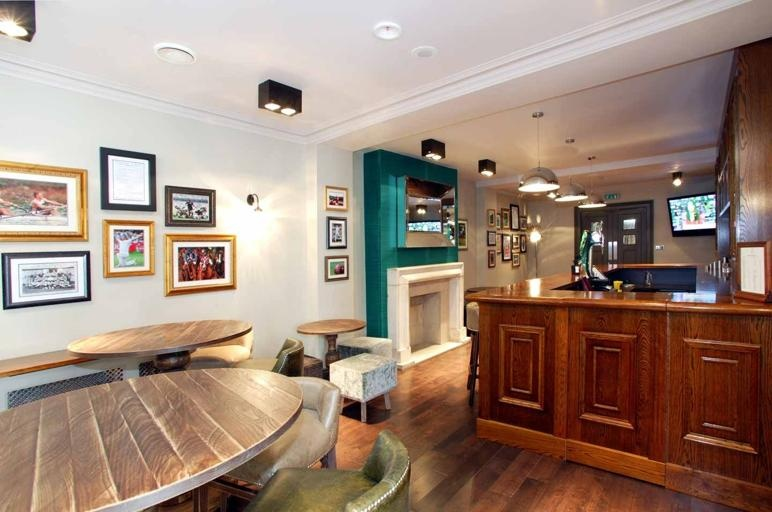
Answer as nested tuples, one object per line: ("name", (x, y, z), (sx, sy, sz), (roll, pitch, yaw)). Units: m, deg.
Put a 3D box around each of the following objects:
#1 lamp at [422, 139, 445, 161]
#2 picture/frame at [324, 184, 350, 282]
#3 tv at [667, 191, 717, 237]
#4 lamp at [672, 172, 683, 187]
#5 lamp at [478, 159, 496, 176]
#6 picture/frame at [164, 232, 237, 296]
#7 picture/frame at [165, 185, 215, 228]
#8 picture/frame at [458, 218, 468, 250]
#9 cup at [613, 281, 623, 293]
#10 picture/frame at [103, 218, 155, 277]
("lamp", (0.613, -1.442, 6.743), (0.265, 0.255, 0.358), (8, 16, 34))
("picture/frame", (-0.630, -0.305, 6.569), (0.208, 1.227, 0.637), (7, 16, 32))
("tv", (5.553, -0.784, 9.118), (0.107, 0.966, 0.884), (-21, 8, -31))
("lamp", (4.954, -1.338, 8.584), (0.175, 0.165, 0.165), (-6, 3, 2))
("lamp", (1.568, -1.384, 7.779), (0.299, 0.258, 0.283), (-4, 14, -13))
("picture/frame", (-2.063, 0.077, 5.540), (0.737, 0.680, 0.051), (0, 0, -42))
("picture/frame", (-2.147, -0.549, 5.478), (0.502, 0.424, 0.033), (0, -2, -42))
("picture/frame", (1.379, -0.425, 9.084), (0.033, 0.633, 0.590), (0, 1, 26))
("cup", (2.797, 0.363, 6.094), (0.107, 0.119, 0.108), (0, 5, 0))
("picture/frame", (-2.630, -0.097, 5.131), (0.619, 0.812, 0.085), (-1, 1, -44))
